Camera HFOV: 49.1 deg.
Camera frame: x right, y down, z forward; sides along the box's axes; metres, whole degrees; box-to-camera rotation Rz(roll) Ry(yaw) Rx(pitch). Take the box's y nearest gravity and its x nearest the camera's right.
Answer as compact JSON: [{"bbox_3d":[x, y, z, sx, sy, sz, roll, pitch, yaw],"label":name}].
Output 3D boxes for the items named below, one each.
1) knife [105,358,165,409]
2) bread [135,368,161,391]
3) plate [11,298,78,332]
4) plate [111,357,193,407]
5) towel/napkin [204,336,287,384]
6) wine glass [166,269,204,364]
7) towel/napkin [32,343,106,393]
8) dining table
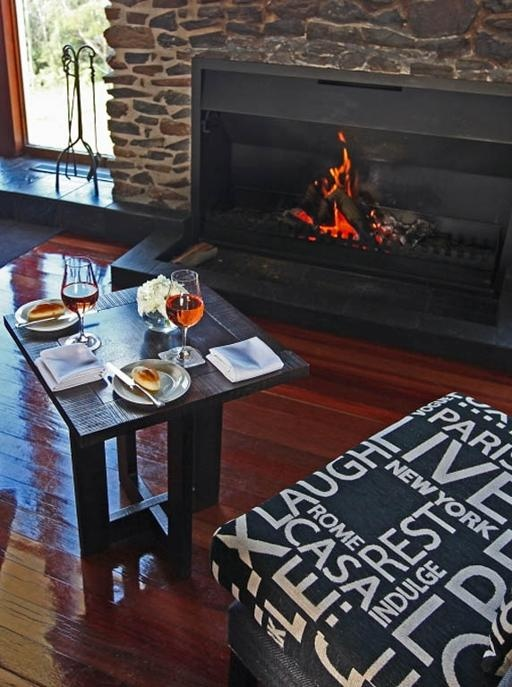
[{"bbox_3d":[-0.248,0.084,1.156,0.025,0.013,0.172,-28,39,-29],"label":"knife"},{"bbox_3d":[-0.225,0.078,1.187,0.053,0.031,0.037,37,45,29],"label":"bread"},{"bbox_3d":[-0.527,-0.069,1.401,0.110,0.028,0.103,23,39,25],"label":"plate"},{"bbox_3d":[-0.198,0.081,1.149,0.115,0.109,0.014,-11,56,-4],"label":"plate"},{"bbox_3d":[-0.025,0.035,1.293,0.148,0.046,0.133,-11,23,-32],"label":"towel/napkin"},{"bbox_3d":[-0.162,-0.060,1.264,0.091,0.196,0.085,2,24,-4],"label":"wine glass"},{"bbox_3d":[-0.391,0.045,1.191,0.108,0.035,0.110,-15,37,-30],"label":"towel/napkin"},{"bbox_3d":[-0.185,0.204,1.737,0.858,0.807,0.828,-13,39,-26],"label":"dining table"}]
